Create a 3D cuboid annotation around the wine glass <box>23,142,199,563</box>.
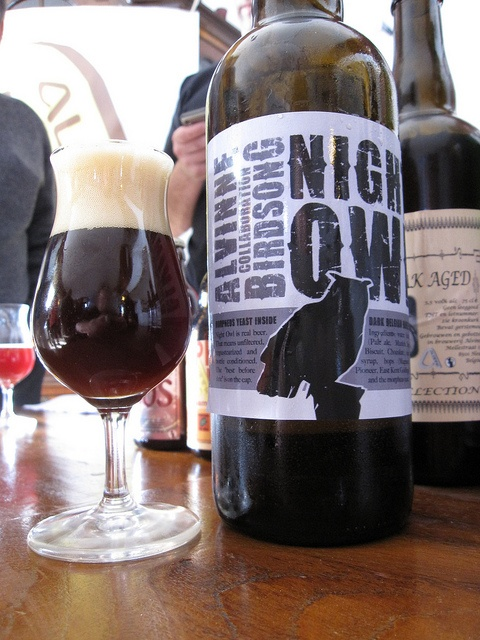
[{"bbox_3d":[-0.087,0.007,0.449,0.127,0.279,0.159,-2,-4,13],"label":"wine glass"}]
